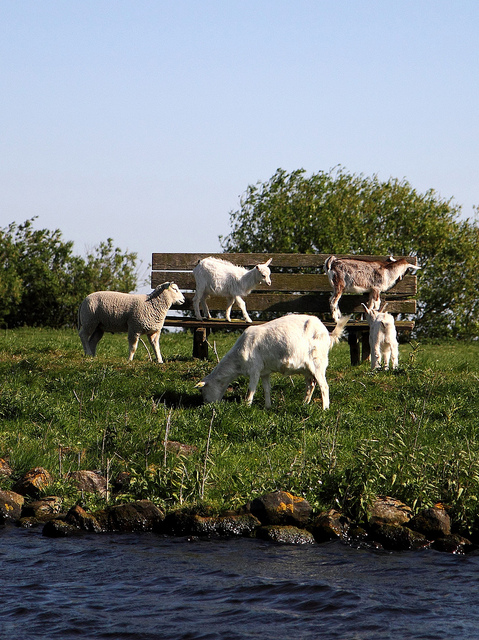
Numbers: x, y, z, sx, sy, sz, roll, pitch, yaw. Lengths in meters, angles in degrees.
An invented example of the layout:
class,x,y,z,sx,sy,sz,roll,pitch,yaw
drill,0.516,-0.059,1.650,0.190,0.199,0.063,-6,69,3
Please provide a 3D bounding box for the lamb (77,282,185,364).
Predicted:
class,x,y,z,sx,sy,sz,roll,pitch,yaw
lamb,-1.878,-0.032,23.689,1.765,1.264,0.971,3,0,23

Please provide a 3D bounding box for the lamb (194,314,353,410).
class,x,y,z,sx,sy,sz,roll,pitch,yaw
lamb,0.506,0.569,20.150,2.201,1.558,0.699,-6,18,0

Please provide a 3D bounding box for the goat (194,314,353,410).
class,x,y,z,sx,sy,sz,roll,pitch,yaw
goat,0.499,0.599,20.145,2.161,1.571,0.678,-5,12,2

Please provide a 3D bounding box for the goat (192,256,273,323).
class,x,y,z,sx,sy,sz,roll,pitch,yaw
goat,-0.077,-0.701,24.003,0.992,1.357,0.949,-9,8,-37

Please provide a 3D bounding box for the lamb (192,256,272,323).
class,x,y,z,sx,sy,sz,roll,pitch,yaw
lamb,-0.124,-0.543,24.047,1.478,1.014,0.769,3,0,34
